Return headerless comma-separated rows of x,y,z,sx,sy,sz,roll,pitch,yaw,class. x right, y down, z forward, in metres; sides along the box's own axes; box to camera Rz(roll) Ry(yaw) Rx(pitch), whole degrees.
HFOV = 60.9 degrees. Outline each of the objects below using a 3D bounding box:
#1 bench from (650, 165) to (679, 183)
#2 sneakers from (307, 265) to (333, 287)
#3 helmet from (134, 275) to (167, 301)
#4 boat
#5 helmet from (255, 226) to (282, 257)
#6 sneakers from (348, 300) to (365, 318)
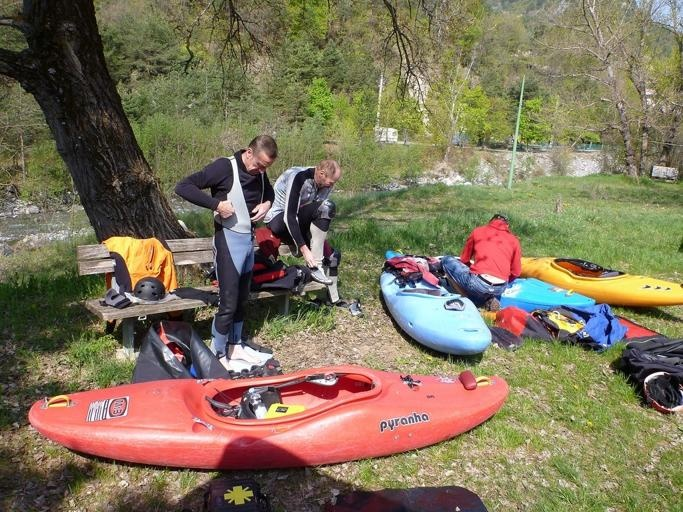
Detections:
15.564,-3.976,28.097,0.944,0.572,1.475,-2,13,-5,bench
-0.313,0.286,8.292,0.423,0.209,0.161,33,42,13,sneakers
-2.347,0.407,7.114,0.244,0.302,0.318,20,-23,-18,helmet
-0.760,1.623,6.884,6.555,2.043,1.772,-2,40,-9,boat
-1.002,-0.194,7.902,0.301,0.398,0.127,-32,15,-22,helmet
0.207,0.772,8.528,0.226,0.082,0.224,-18,56,-46,sneakers
